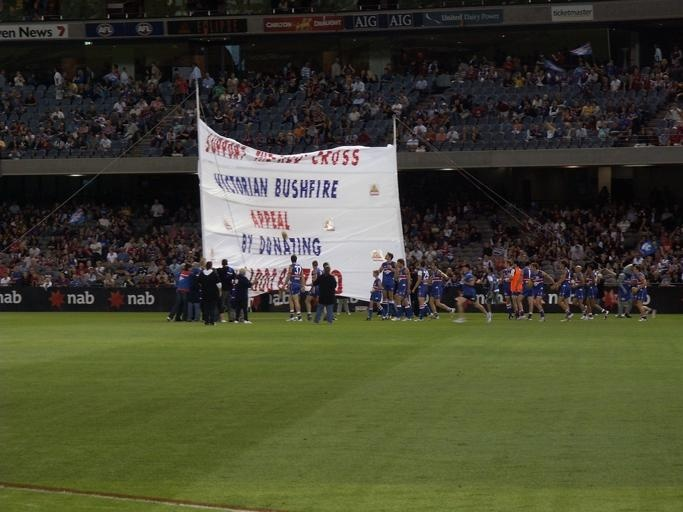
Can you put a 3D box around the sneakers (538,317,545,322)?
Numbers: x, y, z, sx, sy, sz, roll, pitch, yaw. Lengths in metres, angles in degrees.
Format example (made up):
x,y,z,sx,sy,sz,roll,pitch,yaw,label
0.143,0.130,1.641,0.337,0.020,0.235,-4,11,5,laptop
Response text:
x,y,z,sx,sy,sz,roll,pitch,yaw,label
7.397,2.460,59.763,0.150,0.177,0.435,-1,-7,11,sneakers

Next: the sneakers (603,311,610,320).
x,y,z,sx,sy,sz,roll,pitch,yaw,label
10.000,2.366,60.898,0.173,0.214,0.484,-1,-25,3,sneakers

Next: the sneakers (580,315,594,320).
x,y,z,sx,sy,sz,roll,pitch,yaw,label
9.297,2.429,60.789,0.174,0.208,0.522,-3,-8,39,sneakers
